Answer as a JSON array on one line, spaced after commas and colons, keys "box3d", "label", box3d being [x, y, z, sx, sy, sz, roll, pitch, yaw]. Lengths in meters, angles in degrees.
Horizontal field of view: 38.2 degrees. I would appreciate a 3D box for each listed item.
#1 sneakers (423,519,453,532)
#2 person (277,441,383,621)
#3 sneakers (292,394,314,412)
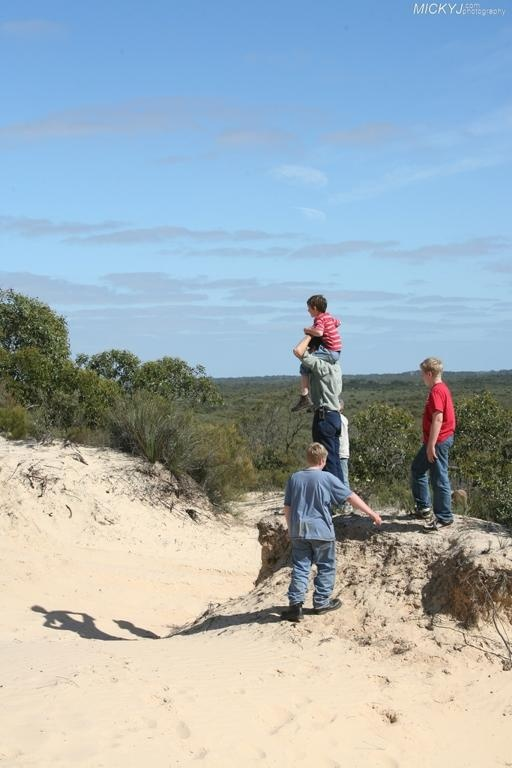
[{"box3d": [1.682, 1.335, 6.937, 0.274, 0.120, 0.107, 1, -7, -9], "label": "sneakers"}, {"box3d": [0.575, 1.289, 6.332, 0.700, 1.404, 0.619, 7, 2, 28], "label": "person"}, {"box3d": [0.445, 0.191, 6.929, 0.290, 0.211, 0.112, -2, -1, 4], "label": "sneakers"}]
